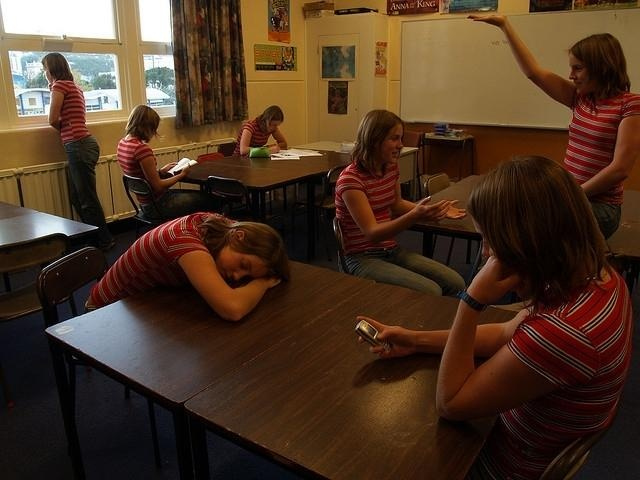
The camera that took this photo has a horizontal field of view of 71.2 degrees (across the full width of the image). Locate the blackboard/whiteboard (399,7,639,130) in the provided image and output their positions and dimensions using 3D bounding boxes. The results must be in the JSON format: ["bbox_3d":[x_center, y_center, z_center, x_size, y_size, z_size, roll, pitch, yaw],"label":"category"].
[{"bbox_3d":[2.063,-1.844,4.656,2.216,1.244,0.080,4,10,27],"label":"blackboard/whiteboard"}]

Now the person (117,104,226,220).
[{"bbox_3d":[-1.387,-0.530,4.136,0.761,1.430,0.509,-21,26,-35],"label":"person"}]

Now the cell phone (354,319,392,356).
[{"bbox_3d":[0.160,0.292,1.392,0.120,0.037,0.066,39,47,9],"label":"cell phone"}]

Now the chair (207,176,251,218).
[{"bbox_3d":[-0.778,-0.378,3.796,0.230,0.448,0.314,8,33,14],"label":"chair"}]

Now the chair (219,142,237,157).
[{"bbox_3d":[-1.074,-1.061,5.182,0.192,0.238,0.167,12,13,41],"label":"chair"}]
